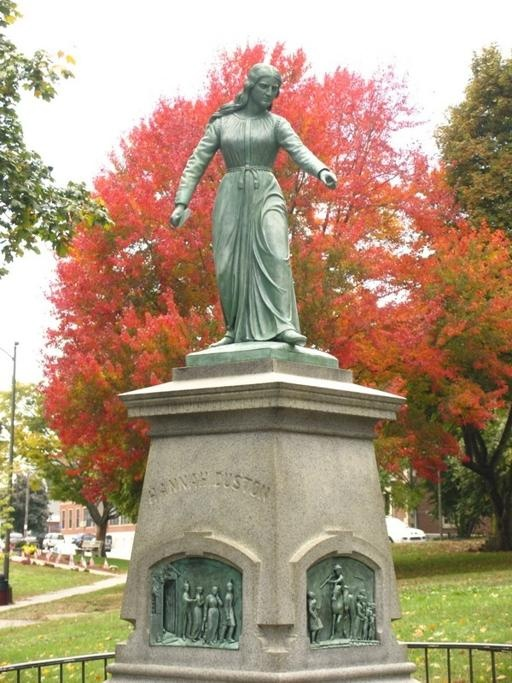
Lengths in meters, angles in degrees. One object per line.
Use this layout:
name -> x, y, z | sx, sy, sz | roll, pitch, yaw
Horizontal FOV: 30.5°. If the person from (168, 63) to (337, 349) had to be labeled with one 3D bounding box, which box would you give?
person -> -0.028, -0.900, 6.531 | 0.984, 1.998, 0.575 | -7, -23, 18
